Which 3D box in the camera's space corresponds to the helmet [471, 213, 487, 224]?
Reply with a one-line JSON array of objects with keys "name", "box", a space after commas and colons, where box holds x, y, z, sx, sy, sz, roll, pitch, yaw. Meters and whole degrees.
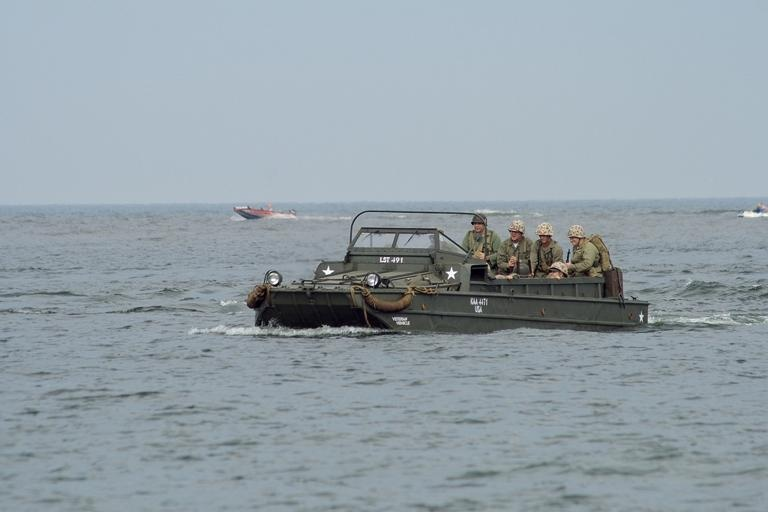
[{"name": "helmet", "box": [2.346, -0.895, 26.181, 0.490, 0.210, 0.537, 1, 6, 5]}]

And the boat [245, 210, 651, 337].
[{"name": "boat", "box": [1.603, 0.869, 24.672, 7.117, 1.729, 4.183, 4, -5, -38]}]

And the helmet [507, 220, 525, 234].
[{"name": "helmet", "box": [3.261, -0.709, 26.121, 0.360, 0.224, 0.431, 4, -3, 24]}]

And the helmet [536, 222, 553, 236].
[{"name": "helmet", "box": [3.915, -0.624, 25.874, 0.386, 0.287, 0.453, 6, 11, 27]}]
